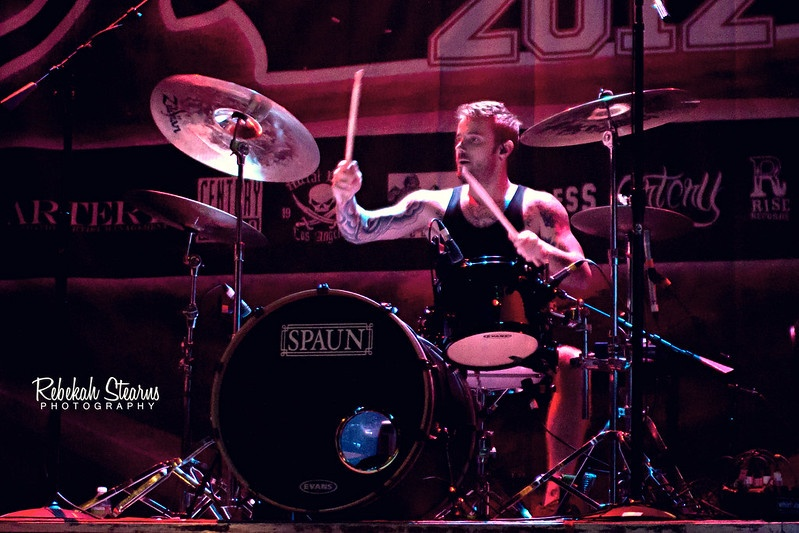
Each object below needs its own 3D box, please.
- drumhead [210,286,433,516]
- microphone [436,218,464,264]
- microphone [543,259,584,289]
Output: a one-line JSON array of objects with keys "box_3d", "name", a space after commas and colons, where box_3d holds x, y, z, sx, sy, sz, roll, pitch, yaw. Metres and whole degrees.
[{"box_3d": [-0.429, 0.808, 5.269, 1.267, 1.178, 0.794, -14, -8, 7], "name": "drumhead"}, {"box_3d": [0.314, -0.149, 5.725, 0.145, 0.203, 0.274, -6, 2, 2], "name": "microphone"}, {"box_3d": [1.015, 0.042, 5.735, 0.253, 0.110, 0.275, -5, 2, 0], "name": "microphone"}]
